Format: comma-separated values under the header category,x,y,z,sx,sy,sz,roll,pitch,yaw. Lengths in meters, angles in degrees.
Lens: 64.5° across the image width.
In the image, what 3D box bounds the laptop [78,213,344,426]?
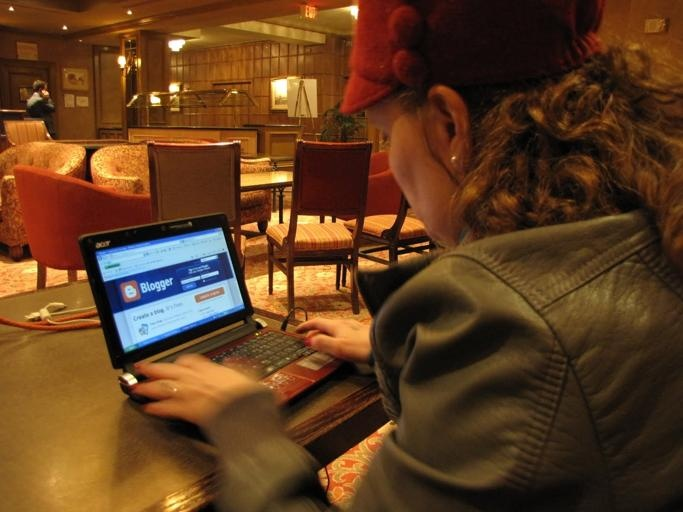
category,x,y,z,sx,sy,sz,roll,pitch,yaw
laptop,-0.231,0.104,1.088,0.514,0.268,0.501,4,17,-14

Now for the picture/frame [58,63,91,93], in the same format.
category,x,y,z,sx,sy,sz,roll,pitch,yaw
picture/frame,-6.402,-4.320,12.972,0.079,0.555,0.779,10,15,30

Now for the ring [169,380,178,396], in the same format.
category,x,y,z,sx,sy,sz,roll,pitch,yaw
ring,-0.278,0.219,0.899,0.013,0.021,0.014,1,36,-32

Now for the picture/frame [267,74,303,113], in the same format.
category,x,y,z,sx,sy,sz,roll,pitch,yaw
picture/frame,-1.364,-3.910,12.865,0.087,0.712,0.799,22,32,36
